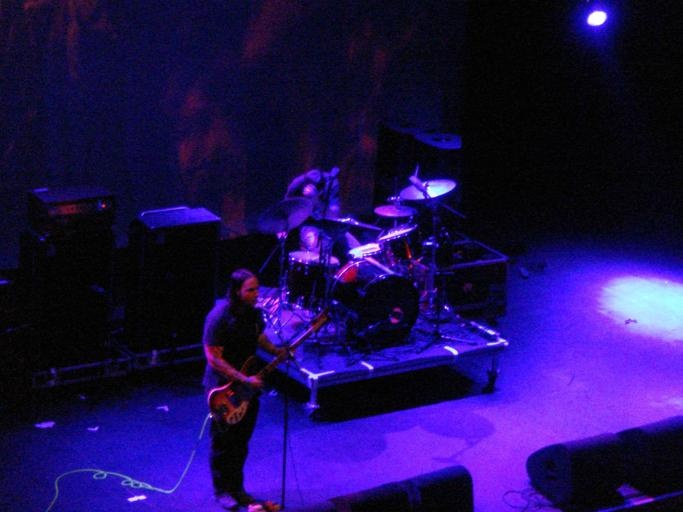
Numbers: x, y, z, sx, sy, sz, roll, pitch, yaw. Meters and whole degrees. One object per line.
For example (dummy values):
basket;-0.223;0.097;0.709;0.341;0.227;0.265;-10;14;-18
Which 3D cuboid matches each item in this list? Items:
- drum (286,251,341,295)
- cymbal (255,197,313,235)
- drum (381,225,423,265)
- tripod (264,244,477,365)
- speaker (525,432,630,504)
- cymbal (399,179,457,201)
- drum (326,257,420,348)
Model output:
drum;-0.319;0.220;6.913;0.517;0.400;0.487;6;18;-2
cymbal;-0.614;-0.447;6.597;0.550;0.363;0.415;3;-8;-22
drum;0.668;-0.148;6.905;0.432;0.303;0.437;-17;2;1
tripod;0.042;0.266;6.850;1.461;0.554;1.383;-13;20;-24
speaker;1.823;1.578;4.828;0.685;0.418;0.580;-3;5;-27
cymbal;0.961;-0.751;6.900;0.600;0.327;0.524;0;-7;-3
drum;0.305;0.437;6.753;0.985;0.934;0.961;-16;27;-36
